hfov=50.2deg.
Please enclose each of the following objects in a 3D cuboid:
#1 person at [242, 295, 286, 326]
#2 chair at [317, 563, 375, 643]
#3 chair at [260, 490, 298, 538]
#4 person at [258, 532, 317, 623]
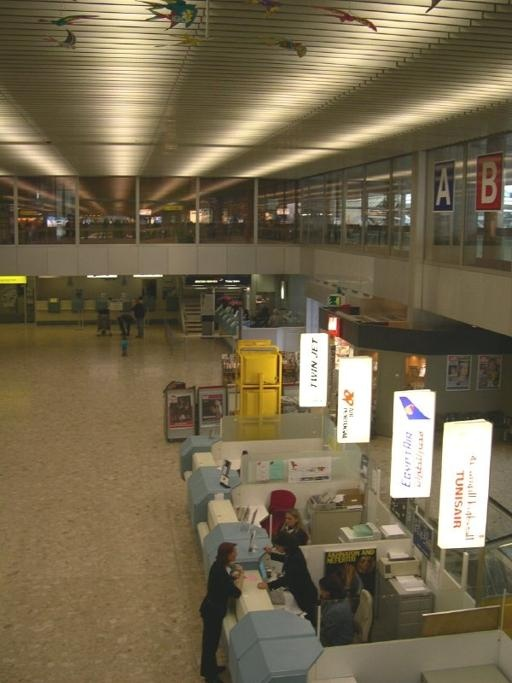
[{"bbox_3d":[0.355,-1.079,20.705,1.345,0.318,1.270,-5,29,-5],"label":"person"},{"bbox_3d":[0.652,1.977,4.096,0.473,0.534,0.376,0,9,2],"label":"chair"},{"bbox_3d":[0.345,2.050,7.021,0.376,0.703,0.433,-1,22,1],"label":"chair"},{"bbox_3d":[0.300,1.966,4.839,0.440,0.902,0.472,1,16,5],"label":"person"}]
